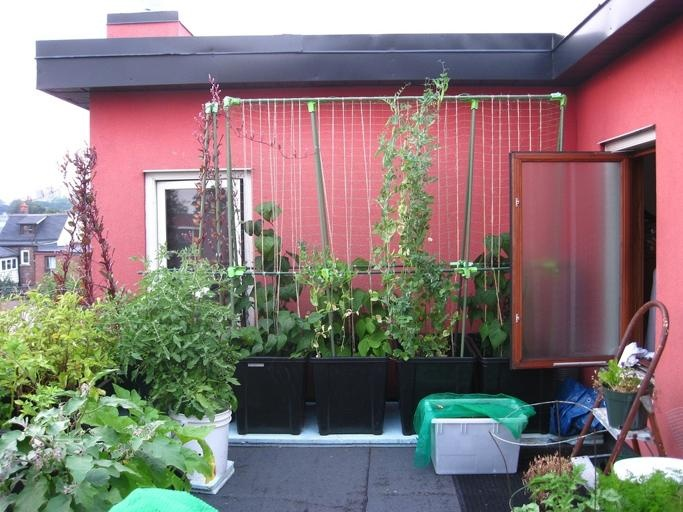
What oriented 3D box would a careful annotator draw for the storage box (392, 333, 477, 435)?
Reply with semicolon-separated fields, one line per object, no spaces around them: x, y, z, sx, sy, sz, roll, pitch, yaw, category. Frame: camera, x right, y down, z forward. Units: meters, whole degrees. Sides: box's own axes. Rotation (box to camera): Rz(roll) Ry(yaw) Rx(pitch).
0.813;1.188;5.144;0.616;0.594;0.540;0;-3;-1;storage box

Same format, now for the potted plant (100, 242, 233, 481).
-1.214;0.843;4.568;0.550;0.942;0.607;-12;10;12;potted plant

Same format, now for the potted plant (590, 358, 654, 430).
1.945;0.944;4.172;0.385;0.477;0.387;-1;-2;21;potted plant

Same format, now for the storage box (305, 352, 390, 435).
0.089;1.181;5.391;0.709;0.738;0.541;-1;6;4;storage box

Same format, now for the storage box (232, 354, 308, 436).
-0.604;1.241;5.424;0.532;0.603;0.677;0;-2;2;storage box
